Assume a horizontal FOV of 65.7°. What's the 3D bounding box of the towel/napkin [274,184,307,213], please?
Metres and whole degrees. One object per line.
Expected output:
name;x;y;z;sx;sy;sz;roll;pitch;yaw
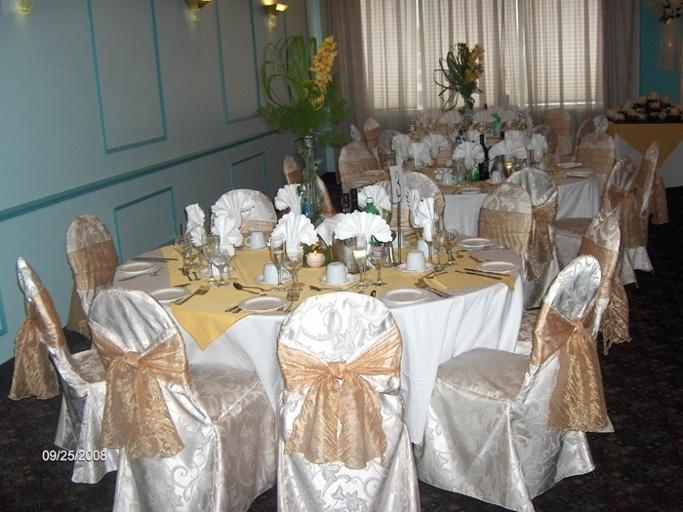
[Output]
towel/napkin;-0.290;-0.330;2.974;0.151;0.079;0.174;-5;23;-10

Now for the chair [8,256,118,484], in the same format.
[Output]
chair;-1.309;0.475;2.654;0.591;0.965;0.572;-9;23;-38

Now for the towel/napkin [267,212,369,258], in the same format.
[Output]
towel/napkin;-0.190;-0.100;2.494;0.234;0.141;0.260;3;8;15

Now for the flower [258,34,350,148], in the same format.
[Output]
flower;-0.263;-1.176;4.189;0.569;1.069;0.653;3;3;25

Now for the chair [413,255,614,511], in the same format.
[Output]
chair;0.744;0.601;2.356;0.575;1.078;0.760;-19;27;-37

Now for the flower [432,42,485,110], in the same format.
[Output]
flower;1.507;-2.237;6.902;0.530;0.797;0.492;-3;44;5
